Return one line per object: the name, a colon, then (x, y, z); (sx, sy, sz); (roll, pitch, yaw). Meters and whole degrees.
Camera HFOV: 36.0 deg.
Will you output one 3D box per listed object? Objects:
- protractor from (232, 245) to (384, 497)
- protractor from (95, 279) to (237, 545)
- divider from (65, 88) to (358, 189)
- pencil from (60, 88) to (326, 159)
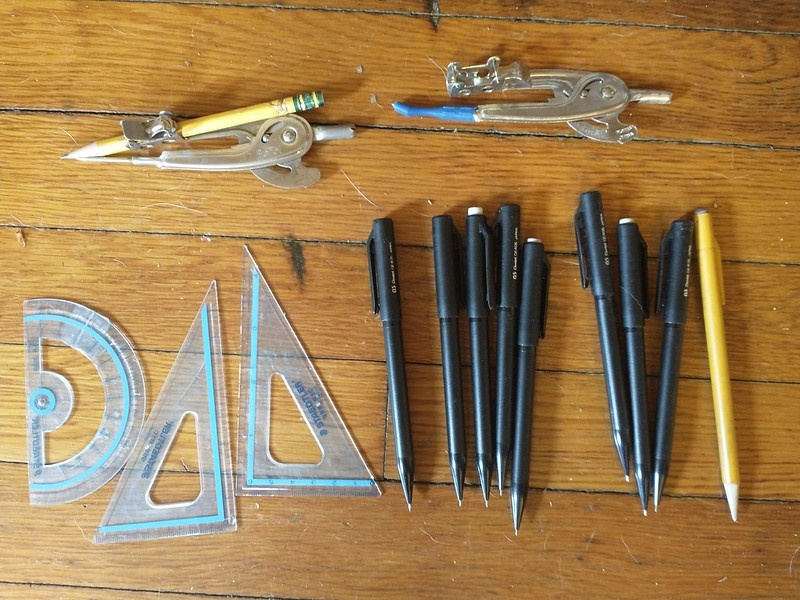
protractor: (-0.212, 0.164, 2.816); (0.311, 0.565, 0.044); (-1, -5, -7)
protractor: (-0.536, 0.257, 2.821); (0.315, 0.581, 0.043); (-3, -5, 9)
divider: (-0.373, -0.353, 2.780); (0.688, 0.228, 0.098); (-6, 13, 1)
pencil: (-0.440, -0.393, 2.797); (0.558, 0.087, 0.078); (-14, -47, 5)
